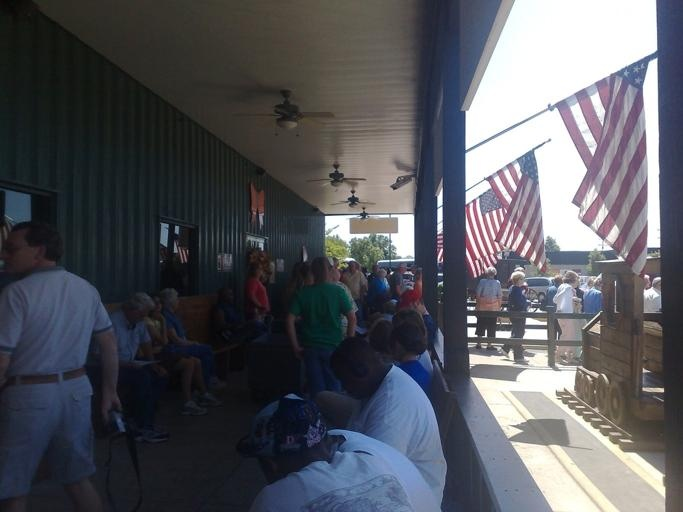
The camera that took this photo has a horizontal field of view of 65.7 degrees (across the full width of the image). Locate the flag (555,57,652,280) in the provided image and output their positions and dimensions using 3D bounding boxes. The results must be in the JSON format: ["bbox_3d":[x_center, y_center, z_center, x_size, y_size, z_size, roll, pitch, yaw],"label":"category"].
[{"bbox_3d":[2.252,-0.915,4.312,0.763,2.369,0.244,5,-29,14],"label":"flag"}]

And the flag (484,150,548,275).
[{"bbox_3d":[3.019,-0.821,9.100,0.744,2.118,3.199,-2,-2,15],"label":"flag"}]

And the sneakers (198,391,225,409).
[{"bbox_3d":[-1.750,1.913,7.064,0.365,0.178,0.147,13,-1,-2],"label":"sneakers"}]

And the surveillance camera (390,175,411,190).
[{"bbox_3d":[1.672,-2.117,15.137,0.600,0.225,0.353,-41,2,-36],"label":"surveillance camera"}]

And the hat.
[{"bbox_3d":[-0.280,0.783,2.531,0.350,0.237,0.260,-1,-6,0],"label":"hat"}]

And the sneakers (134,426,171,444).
[{"bbox_3d":[-2.064,1.945,5.864,0.431,0.233,0.202,1,-2,-6],"label":"sneakers"}]

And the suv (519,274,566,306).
[{"bbox_3d":[7.063,1.244,18.702,1.274,1.280,2.303,-1,7,19],"label":"suv"}]

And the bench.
[{"bbox_3d":[-2.300,1.258,6.954,1.059,1.639,0.768,-6,10,17],"label":"bench"}]

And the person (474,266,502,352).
[{"bbox_3d":[3.312,1.119,11.900,0.519,1.958,0.401,4,26,17],"label":"person"}]

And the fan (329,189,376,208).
[{"bbox_3d":[0.415,-1.942,18.830,0.922,0.424,1.057,5,0,15],"label":"fan"}]

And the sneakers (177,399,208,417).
[{"bbox_3d":[-1.882,1.934,6.702,0.324,0.177,0.149,4,-2,1],"label":"sneakers"}]

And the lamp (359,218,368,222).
[{"bbox_3d":[0.842,-1.368,20.063,0.285,0.144,0.192,-1,-2,-9],"label":"lamp"}]
